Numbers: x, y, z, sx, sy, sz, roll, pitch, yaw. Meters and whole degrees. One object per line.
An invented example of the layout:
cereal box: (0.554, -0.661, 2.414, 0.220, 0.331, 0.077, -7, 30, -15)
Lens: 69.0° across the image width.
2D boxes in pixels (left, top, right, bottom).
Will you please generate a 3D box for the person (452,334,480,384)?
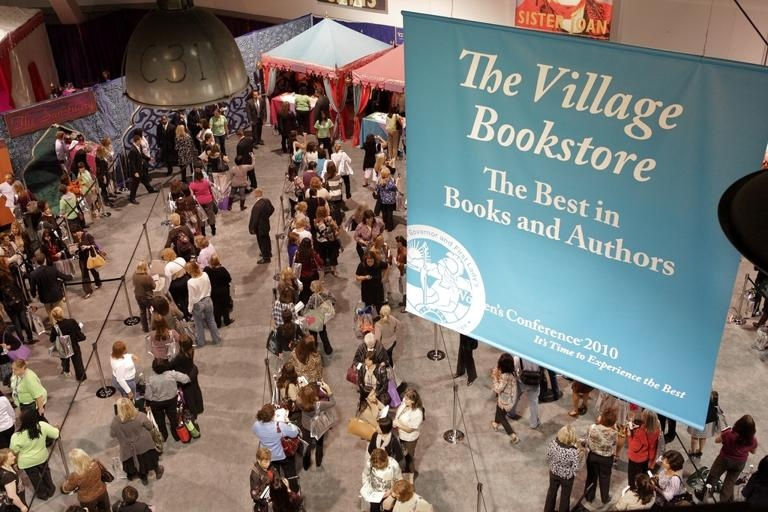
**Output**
person: (1.496, 1.752, 10.003, 0.379, 0.957, 0.656, 3, 16, 10)

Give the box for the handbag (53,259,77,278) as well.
handbag: (-6.612, 0.253, 11.508, 0.350, 0.336, 0.242, -13, 31, -26)

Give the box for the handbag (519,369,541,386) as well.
handbag: (2.315, 1.905, 8.867, 0.319, 0.228, 0.228, 3, 9, -1)

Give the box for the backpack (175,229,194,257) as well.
backpack: (-4.172, -0.266, 11.609, 0.275, 0.500, 0.340, 19, 37, 29)

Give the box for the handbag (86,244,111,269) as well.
handbag: (-6.341, 0.039, 12.368, 0.462, 0.628, 0.167, -14, 11, -34)

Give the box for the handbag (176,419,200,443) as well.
handbag: (-3.197, 2.829, 9.041, 0.170, 0.298, 0.323, 14, 35, 26)

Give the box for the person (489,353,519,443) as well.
person: (1.985, 2.234, 8.992, 0.441, 1.407, 0.467, 4, 15, 12)

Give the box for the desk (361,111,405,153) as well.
desk: (-0.022, -3.836, 17.575, 1.938, 1.197, 1.444, 2, 21, 13)

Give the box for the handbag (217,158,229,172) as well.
handbag: (-4.242, -2.386, 14.649, 0.136, 0.370, 0.393, 7, 14, 26)

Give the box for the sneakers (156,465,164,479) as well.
sneakers: (-3.459, 3.316, 8.578, 0.084, 0.090, 0.234, 6, 48, -4)

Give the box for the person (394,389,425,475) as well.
person: (0.336, 2.645, 8.196, 0.556, 1.404, 0.485, -2, 16, -6)

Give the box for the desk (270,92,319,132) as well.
desk: (-3.188, -4.815, 19.230, 1.755, 0.824, 1.142, 4, 2, -21)

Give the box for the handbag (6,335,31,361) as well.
handbag: (-6.160, 1.557, 9.352, 0.287, 0.380, 0.518, -14, 22, -43)
